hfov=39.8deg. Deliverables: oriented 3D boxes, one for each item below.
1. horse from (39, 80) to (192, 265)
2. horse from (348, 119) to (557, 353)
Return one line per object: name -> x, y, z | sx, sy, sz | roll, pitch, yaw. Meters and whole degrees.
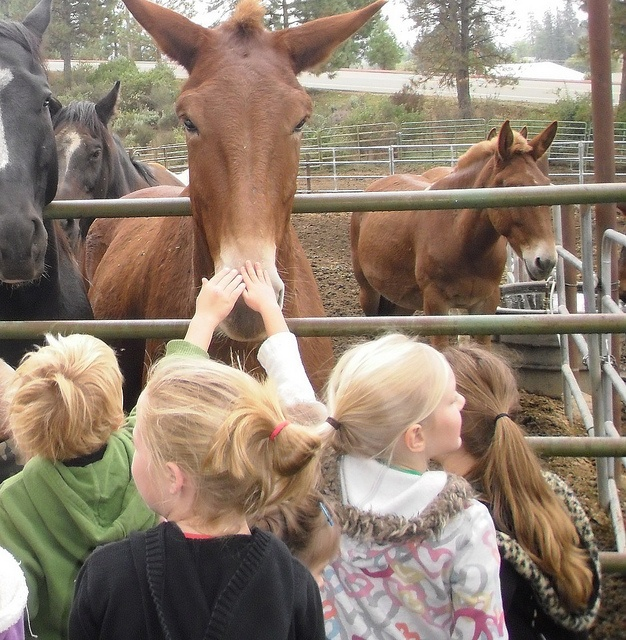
horse -> -1.537, -1.292, 6.335 | 1.519, 0.425, 1.193 | -7, 48, -19
horse -> 0.873, -0.387, 6.395 | 0.777, 2.100, 2.538 | -4, 6, -22
